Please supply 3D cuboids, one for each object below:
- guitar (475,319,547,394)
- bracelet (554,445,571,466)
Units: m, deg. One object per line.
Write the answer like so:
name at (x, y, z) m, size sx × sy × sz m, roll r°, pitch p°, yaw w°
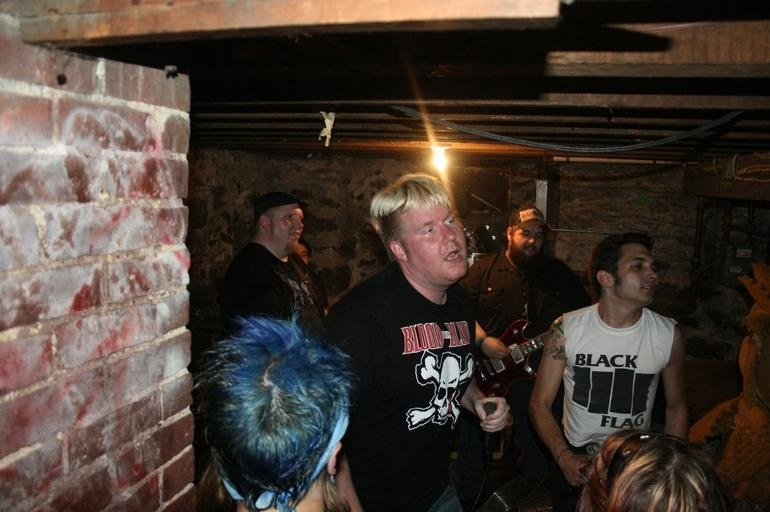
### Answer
guitar at (1.163, 0.943, 4.811) m, size 1.014 × 0.330 × 0.139 m, roll -27°, pitch -6°, yaw 11°
bracelet at (1.069, 1.211, 3.175) m, size 0.079 × 0.115 × 0.126 m, roll 3°, pitch 3°, yaw 18°
